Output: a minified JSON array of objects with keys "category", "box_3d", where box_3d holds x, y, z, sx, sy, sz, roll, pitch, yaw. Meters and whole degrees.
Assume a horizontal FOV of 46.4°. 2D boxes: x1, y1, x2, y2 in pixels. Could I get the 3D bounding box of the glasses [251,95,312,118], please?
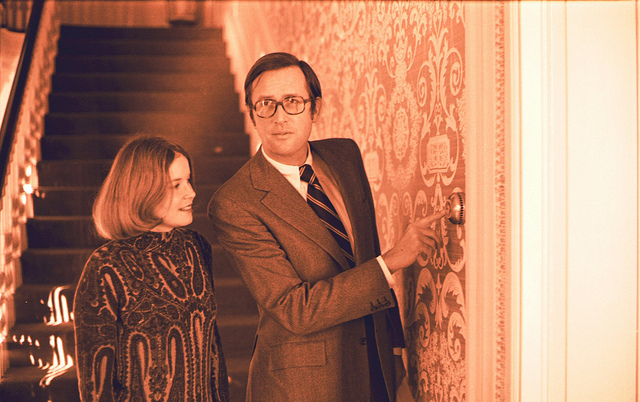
[{"category":"glasses","box_3d":[-0.137,-0.345,2.774,0.209,0.087,0.032,5,-7,-5]}]
